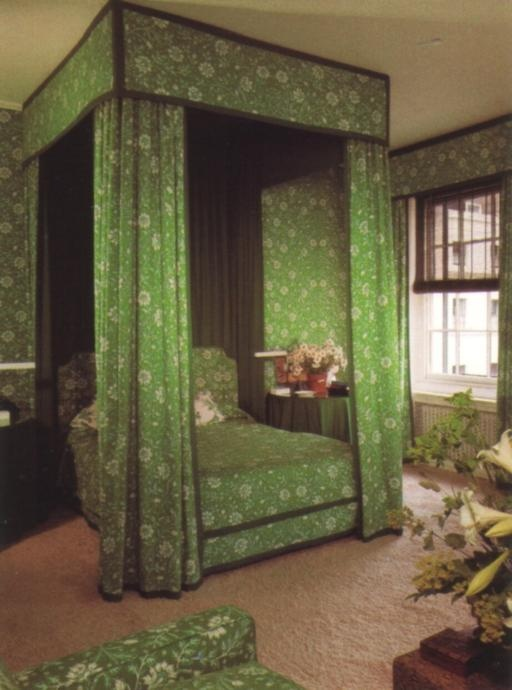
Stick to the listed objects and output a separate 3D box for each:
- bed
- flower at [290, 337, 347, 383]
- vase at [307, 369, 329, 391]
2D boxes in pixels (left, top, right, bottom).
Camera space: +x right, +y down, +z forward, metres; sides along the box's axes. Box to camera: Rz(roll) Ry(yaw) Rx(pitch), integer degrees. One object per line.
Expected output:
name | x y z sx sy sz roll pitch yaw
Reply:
bed | -0.174 0.615 4.198 2.176 1.151 1.976 -1 2 -26
flower | 0.536 0.128 5.377 0.385 0.258 0.413 0 2 3
vase | 0.531 0.306 5.076 0.153 0.139 0.155 0 -2 -15
